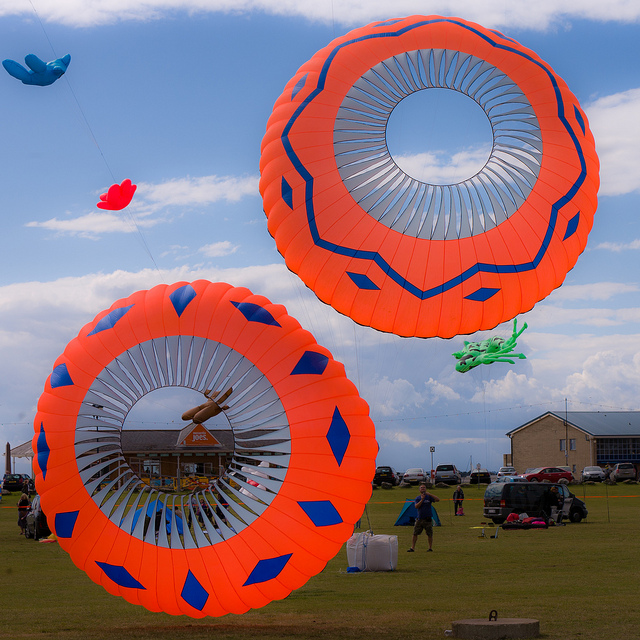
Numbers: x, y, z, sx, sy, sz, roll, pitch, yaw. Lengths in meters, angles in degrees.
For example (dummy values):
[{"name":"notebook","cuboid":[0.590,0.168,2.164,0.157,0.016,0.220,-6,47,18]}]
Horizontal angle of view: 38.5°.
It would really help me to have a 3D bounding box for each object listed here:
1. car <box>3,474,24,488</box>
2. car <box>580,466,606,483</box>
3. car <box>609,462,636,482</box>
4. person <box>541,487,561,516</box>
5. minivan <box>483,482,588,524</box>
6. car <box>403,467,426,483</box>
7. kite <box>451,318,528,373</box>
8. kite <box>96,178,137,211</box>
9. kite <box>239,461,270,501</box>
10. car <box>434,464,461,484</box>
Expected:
[{"name":"car","cuboid":[-19.740,10.408,59.262,1.236,0.788,1.842,1,3,-1]},{"name":"car","cuboid":[17.520,9.935,58.939,1.146,0.724,1.721,-1,-14,3]},{"name":"car","cuboid":[20.356,10.284,62.286,1.281,0.870,1.878,-1,0,1]},{"name":"person","cuboid":[7.700,6.143,30.705,0.722,0.743,0.202,4,-8,-33]},{"name":"minivan","cuboid":[7.389,6.260,31.495,3.504,1.073,1.701,5,-11,-25]},{"name":"car","cuboid":[6.081,9.983,58.938,1.404,0.944,3.416,-1,-5,6]},{"name":"kite","cuboid":[3.478,0.510,19.463,1.802,1.405,1.820,-2,-5,13]},{"name":"kite","cuboid":[-4.307,-2.701,19.691,0.692,0.596,0.882,2,-6,-22]},{"name":"kite","cuboid":[-1.094,2.668,15.052,0.705,0.407,0.051,20,-16,0]},{"name":"car","cuboid":[8.281,10.117,59.836,1.654,1.212,2.374,-1,-5,6]}]
